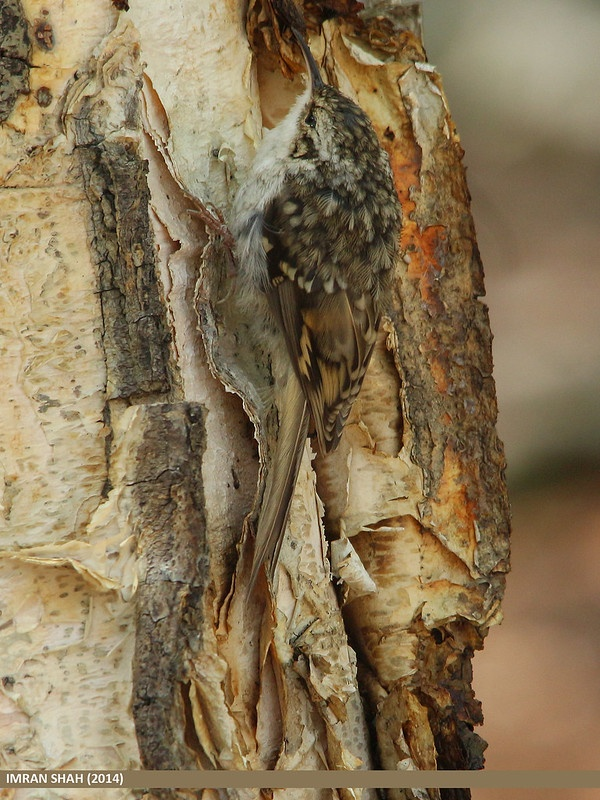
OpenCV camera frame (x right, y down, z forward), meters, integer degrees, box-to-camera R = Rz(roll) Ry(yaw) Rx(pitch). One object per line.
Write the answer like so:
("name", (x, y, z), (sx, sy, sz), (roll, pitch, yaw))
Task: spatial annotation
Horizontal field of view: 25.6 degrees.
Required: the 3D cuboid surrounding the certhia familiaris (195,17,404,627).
("certhia familiaris", (0.078, -0.203, 2.979), (0.319, 1.353, 0.423), (10, -6, -23))
